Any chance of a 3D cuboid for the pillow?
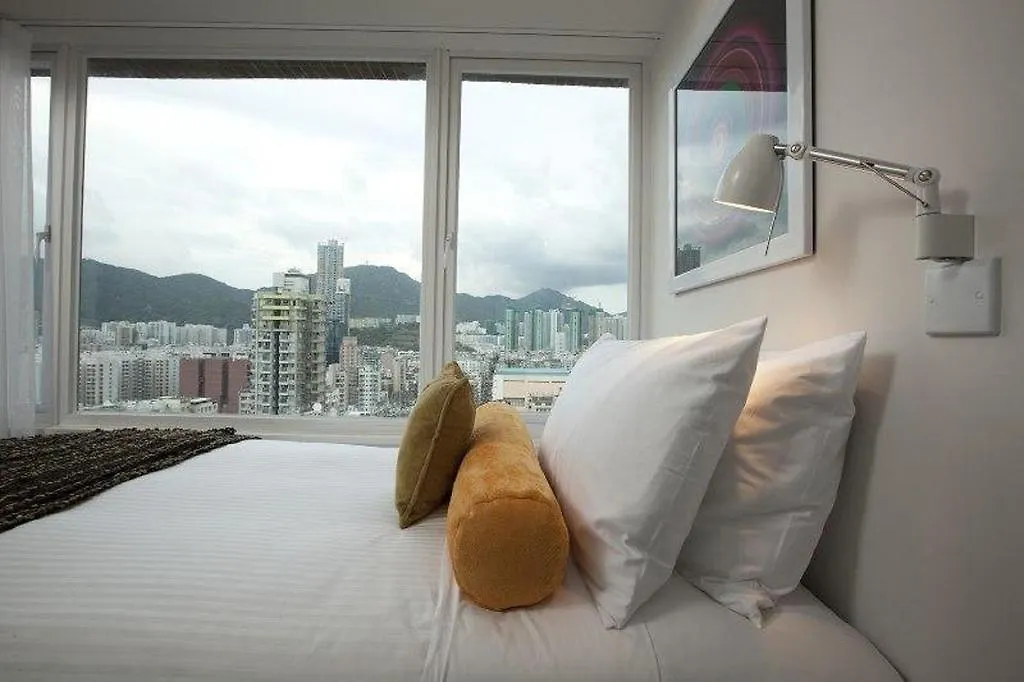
[{"bbox_3d":[0.533,0.410,2.231,0.703,1.101,1.840,1,0,-6],"label":"pillow"}]
